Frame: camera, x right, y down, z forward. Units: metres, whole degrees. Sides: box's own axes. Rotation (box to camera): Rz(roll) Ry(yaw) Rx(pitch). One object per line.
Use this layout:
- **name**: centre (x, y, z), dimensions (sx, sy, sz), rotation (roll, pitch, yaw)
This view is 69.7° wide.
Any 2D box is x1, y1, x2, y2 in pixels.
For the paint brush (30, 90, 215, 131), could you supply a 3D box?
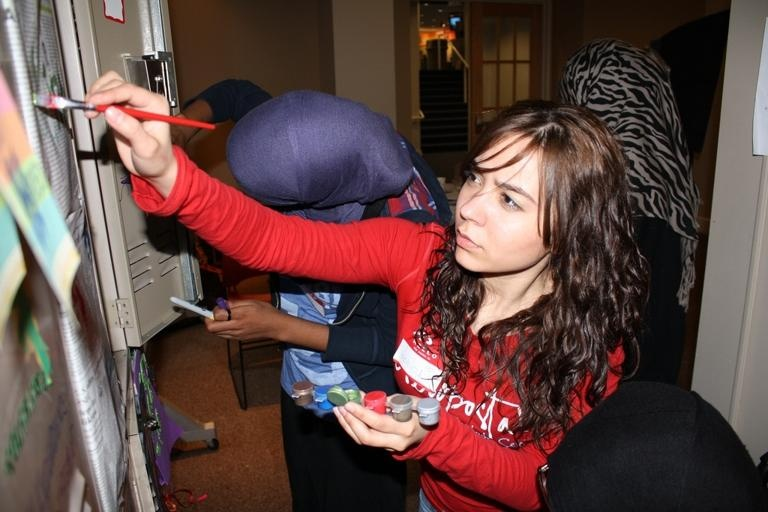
- **paint brush**: centre (-0.459, -0.255, 0.985), dimensions (0.139, 0.068, 0.449), rotation (5, 17, 21)
